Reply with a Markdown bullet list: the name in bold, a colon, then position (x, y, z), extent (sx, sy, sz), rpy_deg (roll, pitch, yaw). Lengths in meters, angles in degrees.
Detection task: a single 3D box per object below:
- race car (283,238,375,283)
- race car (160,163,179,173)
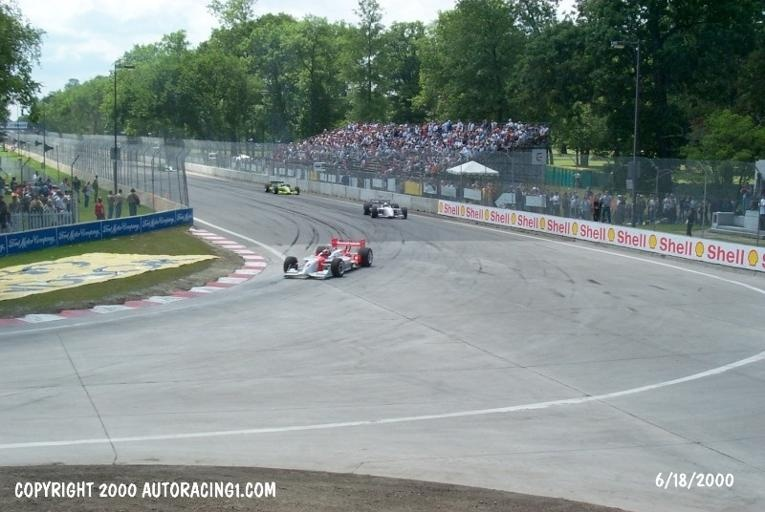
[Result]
- **race car**: position (-1.965, 0.163, 62.652), extent (2.279, 1.578, 4.185), rpy_deg (12, 17, 39)
- **race car**: position (-11.646, -5.291, 75.478), extent (0.954, 0.577, 0.380), rpy_deg (9, 17, 33)
